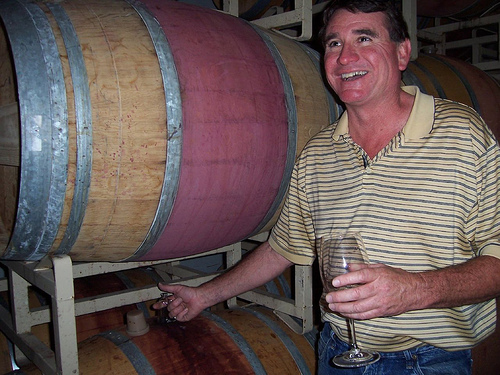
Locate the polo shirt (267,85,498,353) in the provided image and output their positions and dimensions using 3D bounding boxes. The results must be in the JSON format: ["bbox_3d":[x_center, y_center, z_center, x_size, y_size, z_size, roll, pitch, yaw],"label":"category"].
[{"bbox_3d":[0.549,0.106,1.668,0.728,1.012,0.630,0,7,-10],"label":"polo shirt"}]

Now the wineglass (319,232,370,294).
[{"bbox_3d":[0.296,0.246,1.403,0.150,0.225,0.316,2,6,9],"label":"wineglass"}]
